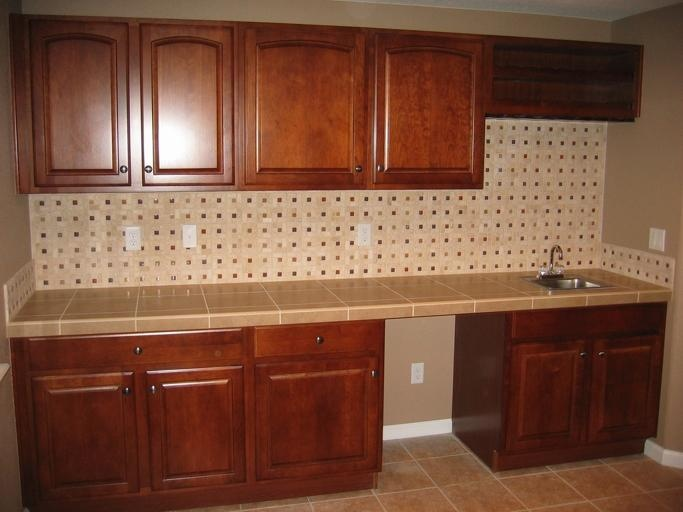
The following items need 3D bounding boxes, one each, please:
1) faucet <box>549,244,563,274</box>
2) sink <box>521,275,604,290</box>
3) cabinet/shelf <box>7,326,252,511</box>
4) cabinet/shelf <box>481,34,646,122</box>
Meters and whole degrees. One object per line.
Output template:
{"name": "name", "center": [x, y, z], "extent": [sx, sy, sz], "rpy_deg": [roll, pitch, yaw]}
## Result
{"name": "faucet", "center": [1.476, 0.005, 4.038], "extent": [0.086, 0.212, 0.317], "rpy_deg": [5, 15, 20]}
{"name": "sink", "center": [1.485, 0.187, 3.958], "extent": [0.475, 0.089, 0.223], "rpy_deg": [3, 15, 11]}
{"name": "cabinet/shelf", "center": [-1.178, 0.834, 3.145], "extent": [0.982, 0.764, 0.363], "rpy_deg": [-1, 3, -13]}
{"name": "cabinet/shelf", "center": [1.401, -1.135, 3.743], "extent": [1.073, 0.475, 0.254], "rpy_deg": [-4, 15, -18]}
